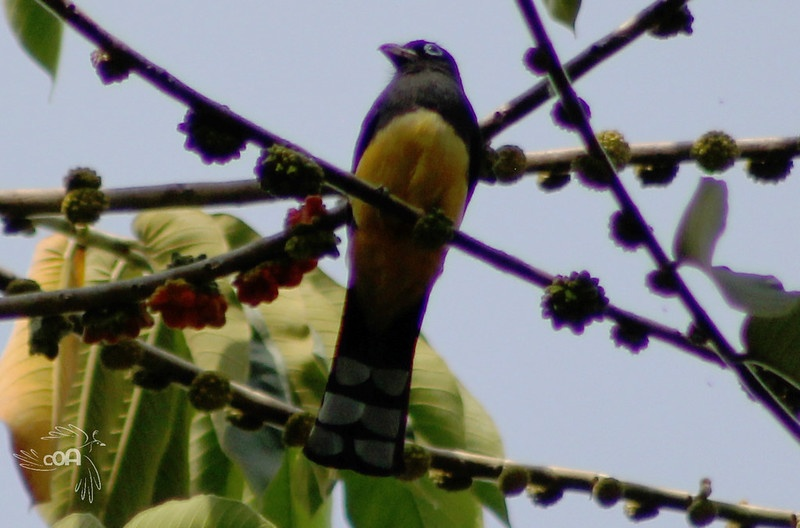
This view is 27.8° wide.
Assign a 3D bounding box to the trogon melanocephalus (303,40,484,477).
[{"bbox_3d":[-0.048,-0.025,5.111,0.436,1.509,0.571,14,-8,-15],"label":"trogon melanocephalus"}]
